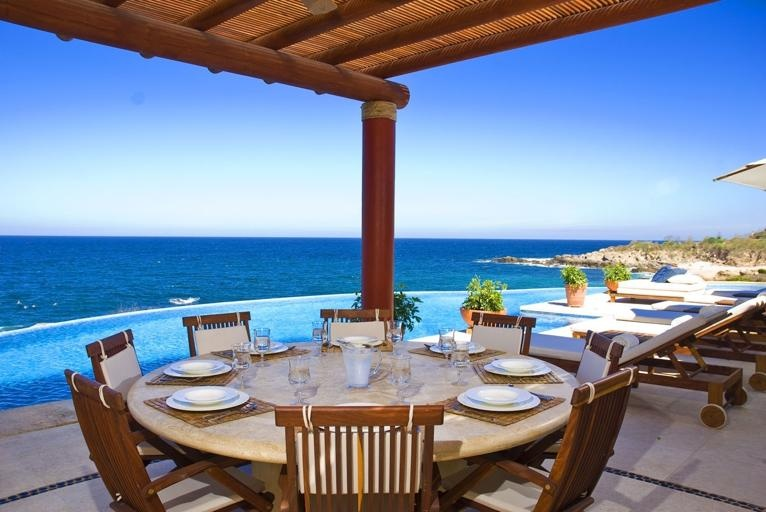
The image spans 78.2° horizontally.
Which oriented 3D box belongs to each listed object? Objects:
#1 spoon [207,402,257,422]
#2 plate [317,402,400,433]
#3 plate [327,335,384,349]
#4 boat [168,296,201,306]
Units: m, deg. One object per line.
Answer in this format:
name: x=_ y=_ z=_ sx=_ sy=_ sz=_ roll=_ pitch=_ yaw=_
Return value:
spoon: x=-0.766 y=0.801 z=2.435 sx=0.067 sy=0.020 sz=0.217 roll=7 pitch=8 yaw=44
plate: x=-0.097 y=0.672 z=1.945 sx=0.223 sy=0.019 sz=0.207 roll=-2 pitch=4 yaw=-40
plate: x=-0.198 y=0.619 z=3.397 sx=0.264 sy=0.025 sz=0.264 roll=-3 pitch=4 yaw=-41
boat: x=-9.449 y=2.137 z=22.123 sx=1.336 sy=0.199 sz=1.002 roll=1 pitch=0 yaw=-10
